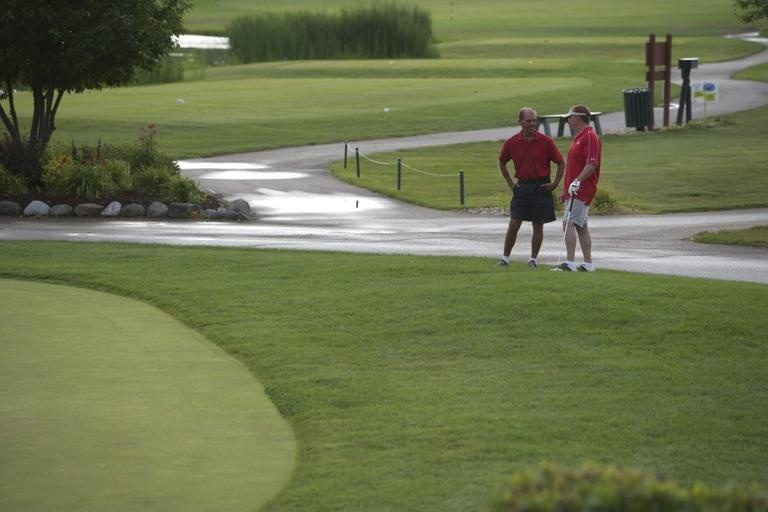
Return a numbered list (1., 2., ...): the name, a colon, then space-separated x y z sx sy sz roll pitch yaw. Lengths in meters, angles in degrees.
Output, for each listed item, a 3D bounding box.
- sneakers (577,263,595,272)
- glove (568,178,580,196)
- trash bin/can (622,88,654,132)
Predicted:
1. sneakers: 6.231 0.387 50.088 0.580 0.253 0.222 4 9 13
2. glove: 5.805 -2.033 49.862 0.259 0.474 0.355 13 -27 -10
3. trash bin/can: 12.020 -6.718 74.745 1.727 2.174 1.724 -6 11 -12
